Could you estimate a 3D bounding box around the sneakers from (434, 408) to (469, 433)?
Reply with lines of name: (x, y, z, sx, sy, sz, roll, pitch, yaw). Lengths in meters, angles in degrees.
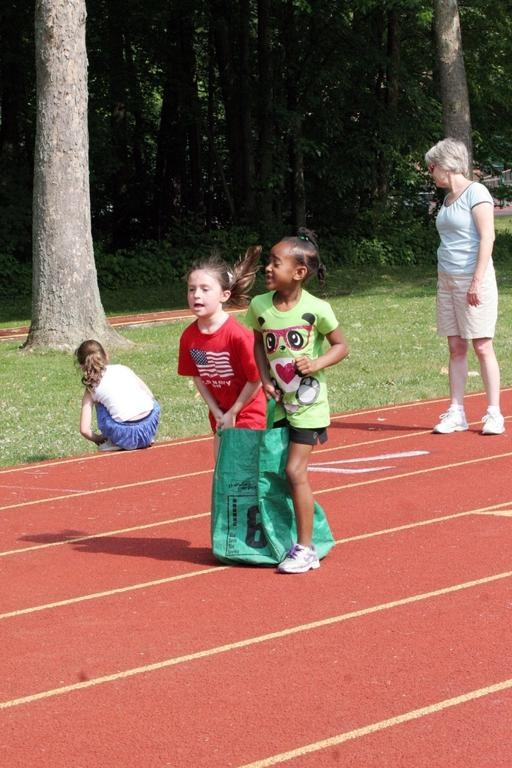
sneakers: (1.548, 0.296, 6.032, 0.376, 0.225, 0.133, -7, 5, -26)

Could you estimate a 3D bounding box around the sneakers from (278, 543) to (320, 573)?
sneakers: (0.194, 0.755, 3.293, 0.086, 0.101, 0.212, -5, -4, 36)

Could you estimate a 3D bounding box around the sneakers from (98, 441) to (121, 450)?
sneakers: (-1.212, 0.511, 6.307, 0.181, 0.078, 0.072, 5, -2, 11)

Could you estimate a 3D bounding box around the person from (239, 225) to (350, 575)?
person: (0.208, 0.091, 3.258, 0.433, 1.459, 0.395, -4, 7, -2)

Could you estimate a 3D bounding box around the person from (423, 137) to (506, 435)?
person: (1.557, -0.693, 5.674, 0.525, 2.231, 0.713, -2, 7, 17)
